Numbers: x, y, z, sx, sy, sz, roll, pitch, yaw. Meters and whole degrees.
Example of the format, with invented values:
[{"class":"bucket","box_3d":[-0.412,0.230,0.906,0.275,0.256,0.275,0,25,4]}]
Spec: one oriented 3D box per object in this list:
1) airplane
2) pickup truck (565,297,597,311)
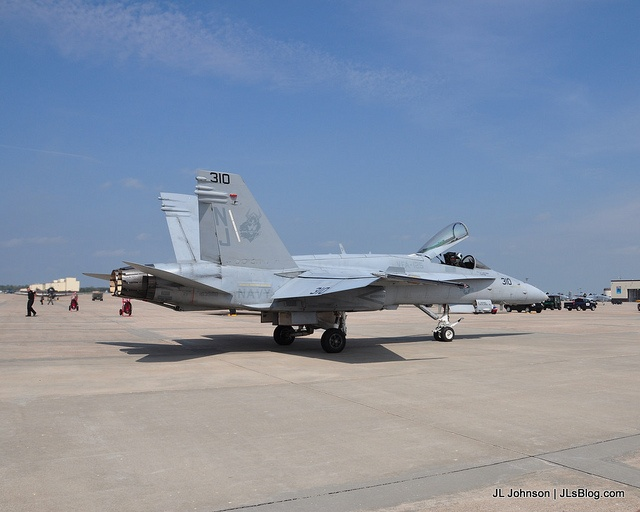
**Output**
[{"class":"airplane","box_3d":[0.402,0.636,14.806,11.089,2.212,7.614,1,-2,-23]},{"class":"pickup truck","box_3d":[25.835,4.651,49.418,3.573,0.831,1.450,-1,1,-21]}]
